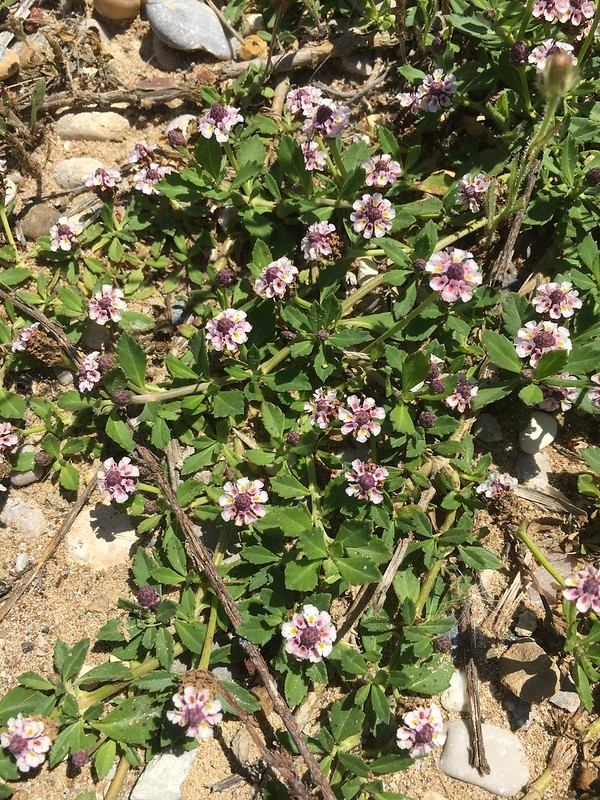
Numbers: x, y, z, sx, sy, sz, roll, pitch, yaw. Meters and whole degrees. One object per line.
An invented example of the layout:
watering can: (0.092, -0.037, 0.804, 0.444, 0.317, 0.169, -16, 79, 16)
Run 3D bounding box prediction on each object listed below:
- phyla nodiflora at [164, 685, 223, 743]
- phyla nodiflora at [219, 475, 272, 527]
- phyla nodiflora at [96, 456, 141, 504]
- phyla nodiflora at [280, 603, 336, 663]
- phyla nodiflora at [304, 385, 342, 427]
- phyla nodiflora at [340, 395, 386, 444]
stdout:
phyla nodiflora: (-0.355, 1.066, 2.529, 0.176, 0.122, 0.140, 19, 34, 6)
phyla nodiflora: (-0.210, 0.386, 2.777, 0.194, 0.075, 0.179, 1, 72, 4)
phyla nodiflora: (-0.738, 0.328, 2.991, 0.152, 0.150, 0.133, 3, 36, -18)
phyla nodiflora: (0.037, 0.835, 2.600, 0.168, 0.132, 0.178, 35, 38, 27)
phyla nodiflora: (0.113, 0.022, 2.903, 0.077, 0.148, 0.151, 15, 53, -32)
phyla nodiflora: (0.244, 0.082, 2.896, 0.194, 0.081, 0.180, -7, 78, 4)
